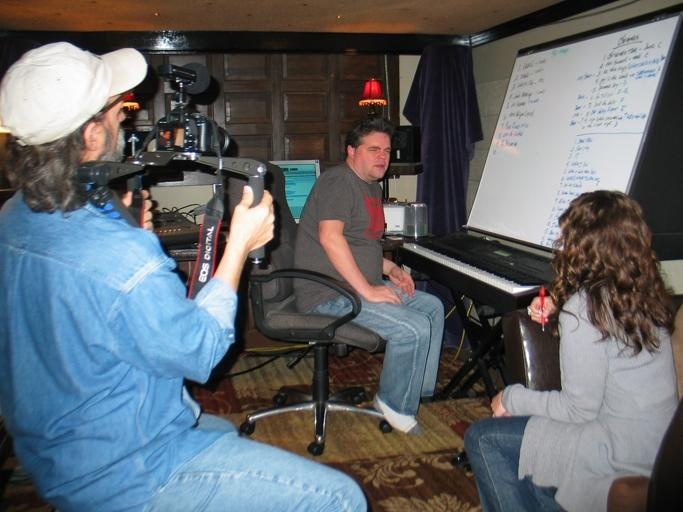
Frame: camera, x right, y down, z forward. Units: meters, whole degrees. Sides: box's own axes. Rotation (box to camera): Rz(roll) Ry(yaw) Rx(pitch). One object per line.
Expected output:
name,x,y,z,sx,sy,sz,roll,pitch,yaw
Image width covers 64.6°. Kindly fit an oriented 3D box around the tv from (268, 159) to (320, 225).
tv,-0.361,-0.468,4.005,0.493,0.636,0.454,-1,7,-10
